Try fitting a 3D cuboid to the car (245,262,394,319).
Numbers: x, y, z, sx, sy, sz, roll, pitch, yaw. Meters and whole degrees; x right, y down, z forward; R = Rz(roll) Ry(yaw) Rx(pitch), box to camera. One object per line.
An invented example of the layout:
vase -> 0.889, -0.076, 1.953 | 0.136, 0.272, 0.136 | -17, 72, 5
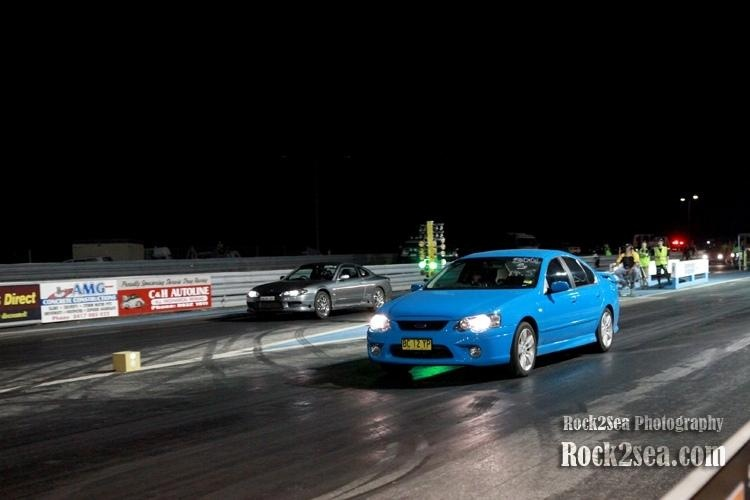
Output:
car -> -1.756, 1.453, 16.971 | 2.247, 1.472, 4.791 | -8, -10, 39
